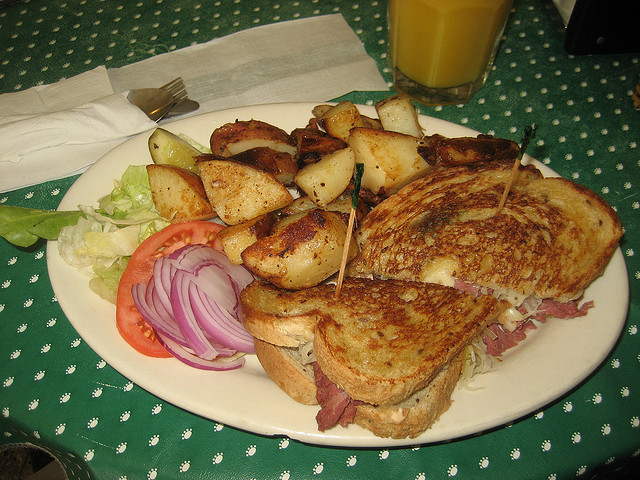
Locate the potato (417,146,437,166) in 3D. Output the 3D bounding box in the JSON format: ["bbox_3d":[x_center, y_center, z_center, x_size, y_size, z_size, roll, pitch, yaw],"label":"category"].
[{"bbox_3d":[0.541,-0.427,2.788,0.078,0.023,0.099,-43,99,-21],"label":"potato"}]

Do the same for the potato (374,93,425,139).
[{"bbox_3d":[0.438,-0.647,2.977,0.101,0.326,0.255,-5,95,-20],"label":"potato"}]

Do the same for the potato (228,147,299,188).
[{"bbox_3d":[-0.293,-0.359,2.872,0.320,0.105,0.169,15,52,-12],"label":"potato"}]

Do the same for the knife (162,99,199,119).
[{"bbox_3d":[-0.831,-0.784,3.340,0.248,0.012,0.078,-34,67,-30],"label":"knife"}]

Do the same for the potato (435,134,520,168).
[{"bbox_3d":[0.791,-0.464,2.815,0.314,0.089,0.186,1,40,4],"label":"potato"}]

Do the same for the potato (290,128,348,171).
[{"bbox_3d":[0.017,-0.533,3.013,0.329,0.326,0.117,-6,106,-3],"label":"potato"}]

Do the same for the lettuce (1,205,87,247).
[{"bbox_3d":[-1.381,-0.069,2.797,0.370,0.144,0.185,-2,73,2],"label":"lettuce"}]

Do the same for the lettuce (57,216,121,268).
[{"bbox_3d":[-1.154,-0.002,2.788,0.266,0.061,0.260,-10,66,-28],"label":"lettuce"}]

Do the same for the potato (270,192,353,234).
[{"bbox_3d":[-0.015,-0.135,2.764,0.255,0.092,0.253,7,40,42],"label":"potato"}]
